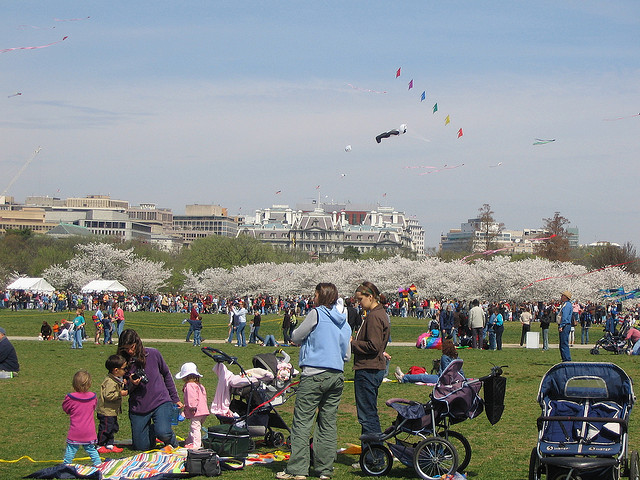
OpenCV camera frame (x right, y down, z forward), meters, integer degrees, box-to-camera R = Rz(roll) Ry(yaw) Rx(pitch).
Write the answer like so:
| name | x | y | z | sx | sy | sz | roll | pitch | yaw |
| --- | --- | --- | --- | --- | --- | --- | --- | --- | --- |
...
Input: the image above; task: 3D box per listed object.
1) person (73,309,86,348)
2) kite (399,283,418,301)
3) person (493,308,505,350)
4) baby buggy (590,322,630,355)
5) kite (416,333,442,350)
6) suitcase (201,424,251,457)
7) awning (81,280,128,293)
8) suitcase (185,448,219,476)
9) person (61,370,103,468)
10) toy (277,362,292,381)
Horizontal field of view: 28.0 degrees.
| name | x | y | z | sx | sy | sz | roll | pitch | yaw |
| --- | --- | --- | --- | --- | --- | --- | --- | --- | --- |
| person | -8.978 | 3.228 | 47.804 | 0.419 | 1.449 | 2.016 | 2 | -5 | -10 |
| kite | 5.534 | 3.363 | 83.761 | 1.057 | 1.003 | 0.488 | -16 | -23 | 17 |
| person | 6.721 | 3.334 | 49.040 | 0.354 | 1.578 | 1.137 | 1 | -5 | 8 |
| baby buggy | 10.596 | 3.712 | 47.319 | 1.403 | 1.117 | 0.796 | 2 | -2 | 11 |
| kite | 4.090 | 3.790 | 48.524 | 0.714 | 0.392 | 1.101 | 1 | 2 | -4 |
| suitcase | -2.357 | 4.979 | 32.065 | 1.059 | 0.565 | 0.988 | 5 | 0 | 39 |
| awning | -13.628 | 2.866 | 80.482 | 1.479 | 0.853 | 3.643 | -1 | -5 | 18 |
| suitcase | -2.867 | 5.339 | 31.021 | 0.612 | 0.496 | 0.732 | 0 | -2 | -10 |
| person | -5.816 | 4.312 | 31.427 | 0.951 | 2.260 | 0.504 | 2 | -5 | -9 |
| toy | -0.925 | 3.273 | 32.424 | 0.328 | 0.397 | 0.408 | 3 | -13 | -4 |
